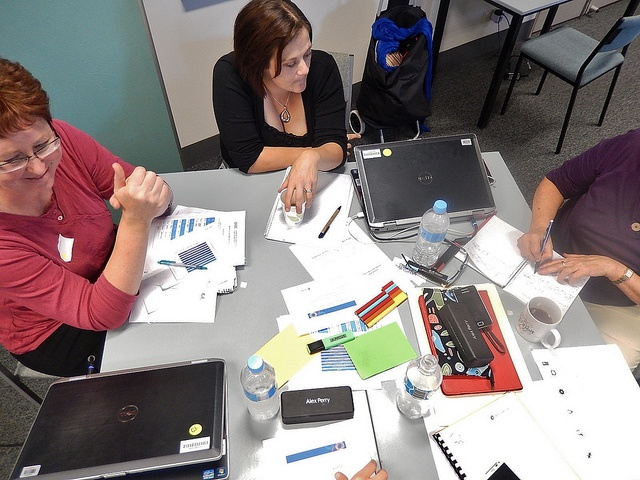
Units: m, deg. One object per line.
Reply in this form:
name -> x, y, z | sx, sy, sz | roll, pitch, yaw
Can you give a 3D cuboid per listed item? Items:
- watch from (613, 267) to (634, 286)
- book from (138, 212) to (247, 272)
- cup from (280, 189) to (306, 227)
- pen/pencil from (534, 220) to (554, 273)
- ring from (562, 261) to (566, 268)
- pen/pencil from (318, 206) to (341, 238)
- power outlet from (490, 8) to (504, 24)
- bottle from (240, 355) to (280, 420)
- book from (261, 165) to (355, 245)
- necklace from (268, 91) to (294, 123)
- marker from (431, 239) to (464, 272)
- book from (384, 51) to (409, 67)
watch -> 1.214, 0.142, 1.792 | 0.028, 0.046, 0.047 | 47, 39, 2
book -> -0.489, -0.002, 1.834 | 0.250, 0.065, 0.284 | 2, 58, -7
cup -> -0.111, -0.125, 1.858 | 0.113, 0.105, 0.120 | 6, 19, -2
pen/pencil -> 0.874, 0.027, 1.755 | 0.019, 0.019, 0.212 | 22, 95, -6
ring -> 0.941, 0.091, 1.728 | 0.015, 0.005, 0.021 | -10, 80, -6
pen/pencil -> 0.036, -0.072, 1.835 | 0.021, 0.021, 0.151 | 1, 46, 53
power outlet -> 1.545, -1.960, 3.921 | 0.091, 0.091, 0.084 | -34, 71, -11
bottle -> -0.193, 0.496, 1.453 | 0.101, 0.204, 0.105 | -4, 11, 1
book -> -0.051, -0.130, 1.812 | 0.273, 0.052, 0.387 | 5, 54, 4
necklace -> -0.196, -0.654, 2.173 | 0.156, 0.207, 0.023 | 2, 48, 3
marker -> 0.489, 0.065, 1.753 | 0.075, 0.026, 0.245 | 23, 33, 27
book -> 0.490, -1.186, 2.936 | 0.110, 0.041, 0.125 | 12, 75, -1
